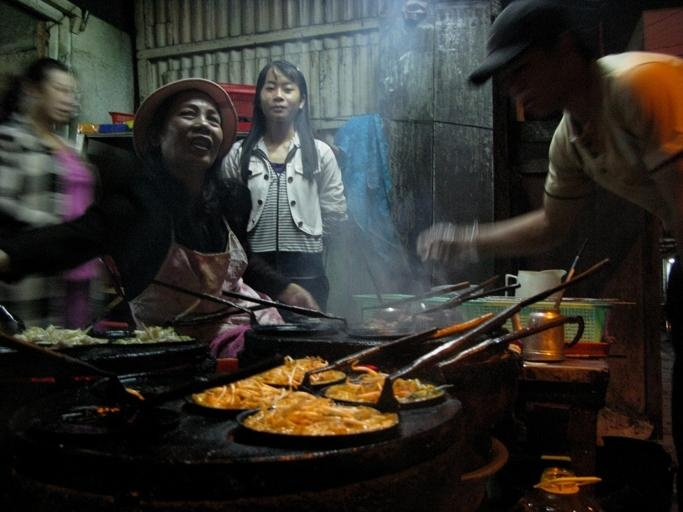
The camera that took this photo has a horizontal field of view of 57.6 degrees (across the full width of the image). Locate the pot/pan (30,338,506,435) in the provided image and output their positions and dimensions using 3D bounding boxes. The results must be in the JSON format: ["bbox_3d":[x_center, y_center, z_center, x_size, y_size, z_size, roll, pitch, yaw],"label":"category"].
[{"bbox_3d":[-0.302,0.551,2.647,1.588,0.229,0.610,-2,3,-8],"label":"pot/pan"}]

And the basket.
[{"bbox_3d":[1.172,0.381,4.488,1.308,0.225,0.680,0,-5,15],"label":"basket"}]
